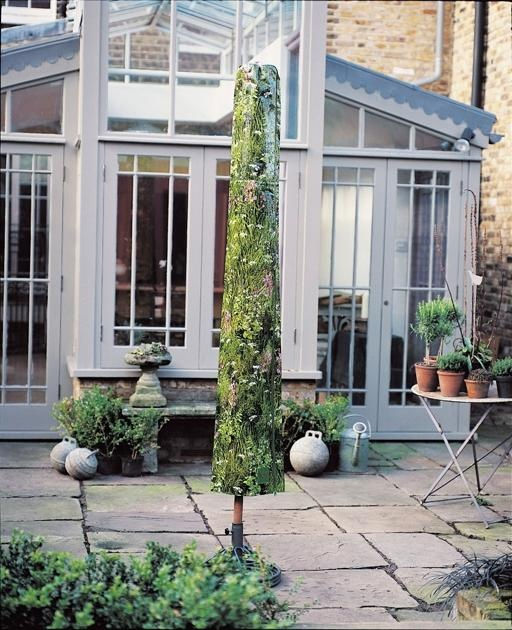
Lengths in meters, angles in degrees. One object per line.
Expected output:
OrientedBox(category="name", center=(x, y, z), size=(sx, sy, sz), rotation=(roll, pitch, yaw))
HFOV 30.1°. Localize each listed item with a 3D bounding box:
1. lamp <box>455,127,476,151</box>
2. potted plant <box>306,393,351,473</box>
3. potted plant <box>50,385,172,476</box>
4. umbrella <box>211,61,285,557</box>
OrientedBox(category="lamp", center=(1.811, -1.490, 8.259), size=(0.140, 0.211, 0.081), rotation=(27, 11, 34))
OrientedBox(category="potted plant", center=(0.599, 0.900, 7.582), size=(0.246, 0.530, 0.796), rotation=(4, 5, 11))
OrientedBox(category="potted plant", center=(-1.064, 0.803, 6.975), size=(0.641, 0.529, 0.803), rotation=(1, -1, 10))
OrientedBox(category="umbrella", center=(0.011, -0.166, 4.556), size=(0.341, 2.030, 0.289), rotation=(3, 4, 0))
